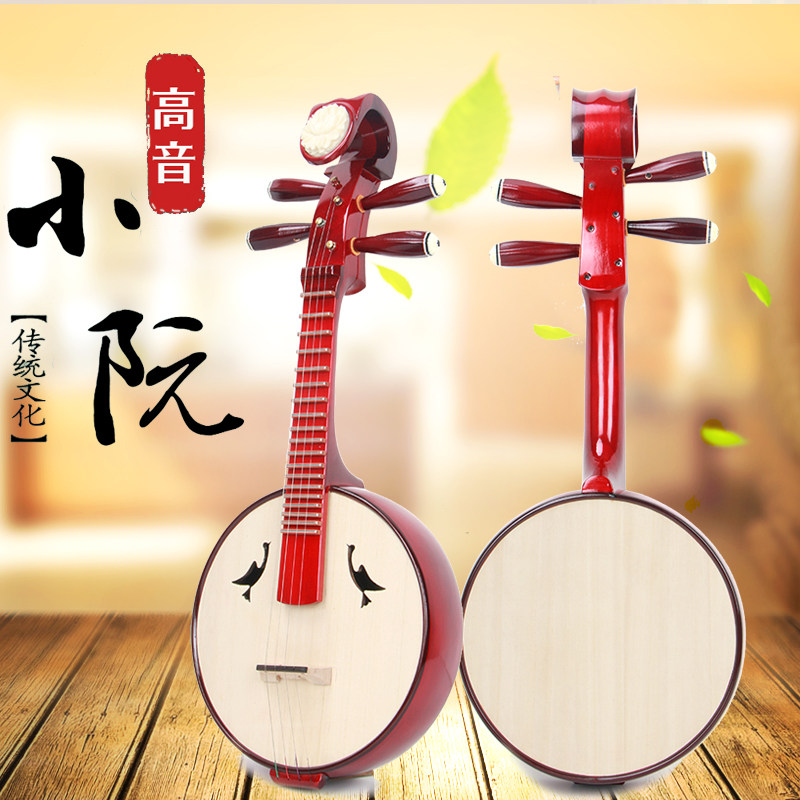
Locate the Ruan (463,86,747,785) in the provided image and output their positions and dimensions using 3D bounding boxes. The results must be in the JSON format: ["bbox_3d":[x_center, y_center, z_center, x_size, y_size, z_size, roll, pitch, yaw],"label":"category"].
[{"bbox_3d":[0.332,0.051,1.718,0.441,1.170,0.482,0,10,3],"label":"Ruan"}]

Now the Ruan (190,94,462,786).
[{"bbox_3d":[-0.073,0.043,1.710,0.424,1.143,0.483,6,12,31],"label":"Ruan"}]
